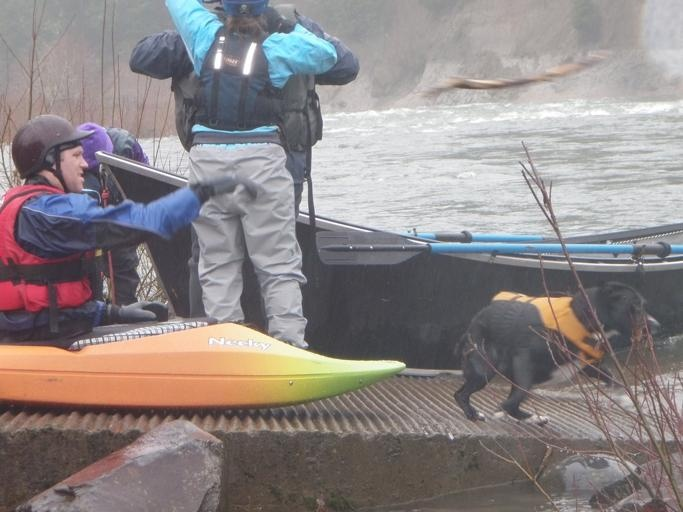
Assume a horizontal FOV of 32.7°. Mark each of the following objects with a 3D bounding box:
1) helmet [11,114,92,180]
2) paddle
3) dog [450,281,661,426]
[{"bbox_3d":[-1.899,-0.717,7.571,0.473,0.325,0.339,-15,1,-18],"label":"helmet"},{"bbox_3d":[1.139,-0.043,8.947,2.753,0.365,0.187,0,34,-5],"label":"paddle"},{"bbox_3d":[1.544,0.685,8.423,1.589,0.993,0.654,-2,2,24],"label":"dog"}]
